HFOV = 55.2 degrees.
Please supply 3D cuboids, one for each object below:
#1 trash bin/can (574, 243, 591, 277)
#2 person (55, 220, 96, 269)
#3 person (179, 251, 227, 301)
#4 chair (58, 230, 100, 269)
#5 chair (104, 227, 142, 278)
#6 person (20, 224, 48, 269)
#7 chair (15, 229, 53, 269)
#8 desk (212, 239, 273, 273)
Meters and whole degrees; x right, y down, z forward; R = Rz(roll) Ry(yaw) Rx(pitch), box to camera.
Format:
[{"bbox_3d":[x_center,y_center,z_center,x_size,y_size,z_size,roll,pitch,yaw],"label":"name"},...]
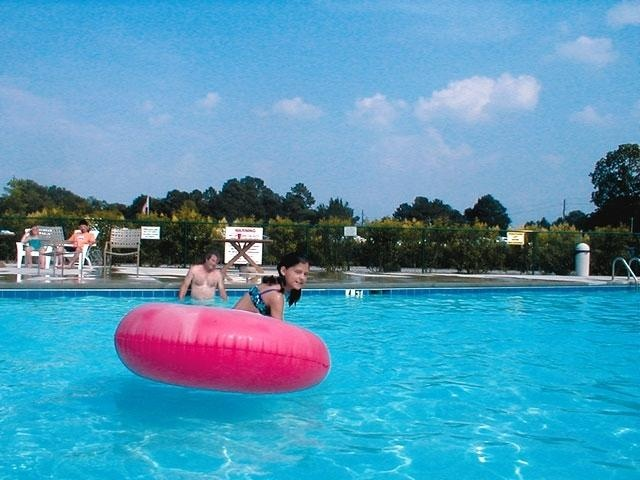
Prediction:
[{"bbox_3d":[8.700,0.666,20.179,0.438,1.040,0.435,4,11,19],"label":"trash bin/can"},{"bbox_3d":[-6.148,0.071,15.070,0.823,1.184,1.545,6,2,9],"label":"person"},{"bbox_3d":[-2.251,0.678,11.693,0.841,1.031,0.661,4,11,15],"label":"person"},{"bbox_3d":[-5.961,0.335,14.909,0.712,0.757,1.199,0,-4,14],"label":"chair"},{"bbox_3d":[-5.289,0.326,16.339,1.045,1.352,1.064,2,-2,5],"label":"chair"},{"bbox_3d":[-6.789,0.148,14.522,0.607,0.931,0.585,4,4,31],"label":"person"},{"bbox_3d":[-6.782,0.176,14.527,0.676,0.948,0.521,1,12,-38],"label":"chair"},{"bbox_3d":[-2.033,0.361,15.787,1.542,0.802,1.616,3,-2,43],"label":"desk"}]
